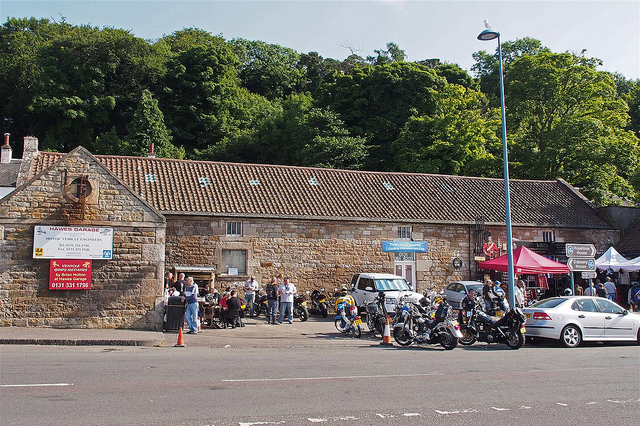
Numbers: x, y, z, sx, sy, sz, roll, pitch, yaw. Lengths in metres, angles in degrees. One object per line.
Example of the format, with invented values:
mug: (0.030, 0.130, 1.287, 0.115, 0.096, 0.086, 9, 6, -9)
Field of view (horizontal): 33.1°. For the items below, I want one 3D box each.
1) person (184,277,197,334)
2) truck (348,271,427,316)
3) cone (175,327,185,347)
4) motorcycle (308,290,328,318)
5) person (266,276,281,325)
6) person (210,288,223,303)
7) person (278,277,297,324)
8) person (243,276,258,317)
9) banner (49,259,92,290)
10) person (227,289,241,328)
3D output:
person: (-7.243, 5.067, 60.517, 0.769, 3.140, 1.097, 2, -9, -7)
truck: (4.053, 4.954, 65.646, 3.331, 2.603, 5.817, -3, 4, -24)
cone: (-7.535, 6.559, 57.994, 0.497, 1.053, 1.016, 2, -8, -7)
motorcycle: (-0.126, 5.574, 66.984, 1.236, 1.631, 0.461, -6, -11, 41)
person: (-2.793, 5.175, 64.574, 0.839, 2.834, 1.598, 1, -9, -2)
person: (-6.139, 4.735, 63.885, 0.639, 0.831, 1.169, 3, -9, -16)
person: (-1.998, 5.111, 64.400, 0.939, 2.725, 1.336, 0, -9, 10)
person: (-4.180, 4.916, 65.358, 0.741, 2.344, 1.508, 1, -9, -3)
banner: (-14.045, 3.347, 60.092, 1.962, 1.238, 0.190, 0, -7, -6)
person: (-4.955, 5.466, 62.215, 0.740, 2.077, 1.040, 1, -9, 0)
